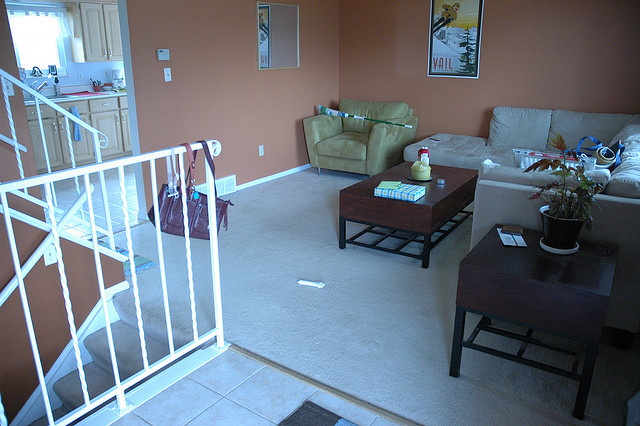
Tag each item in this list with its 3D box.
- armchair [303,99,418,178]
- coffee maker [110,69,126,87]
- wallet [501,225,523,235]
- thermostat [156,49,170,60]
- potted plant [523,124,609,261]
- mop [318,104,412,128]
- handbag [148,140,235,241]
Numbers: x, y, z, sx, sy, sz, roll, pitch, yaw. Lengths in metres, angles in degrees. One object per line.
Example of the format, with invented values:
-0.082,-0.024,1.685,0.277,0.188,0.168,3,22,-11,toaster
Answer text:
0.637,-0.993,6.961,1.291,1.121,1.601,-4,-4,-44,armchair
-3.707,-2.456,7.954,0.221,0.288,0.218,-12,24,-25,coffee maker
1.464,0.125,3.310,0.153,0.024,0.141,6,23,18,wallet
-1.815,-1.818,5.024,0.033,0.123,0.164,13,26,32,thermostat
1.721,-0.110,3.141,0.584,0.828,0.548,11,0,-43,potted plant
0.745,-1.502,6.802,1.234,0.124,0.209,19,51,27,mop
-0.885,-0.119,2.922,0.531,0.723,0.283,-10,24,-21,handbag
